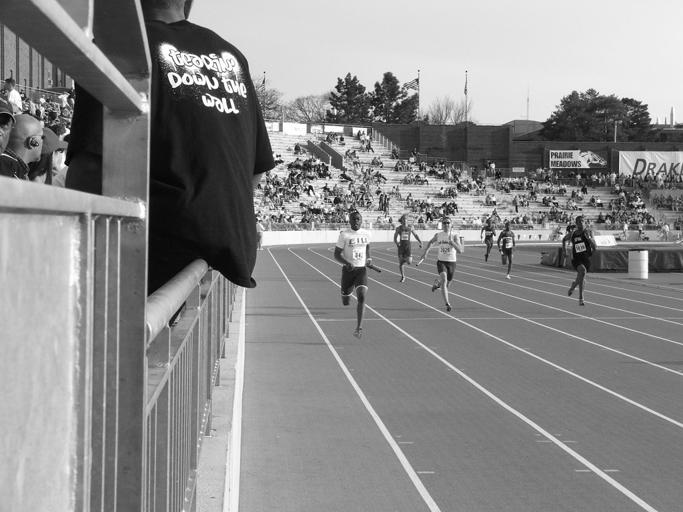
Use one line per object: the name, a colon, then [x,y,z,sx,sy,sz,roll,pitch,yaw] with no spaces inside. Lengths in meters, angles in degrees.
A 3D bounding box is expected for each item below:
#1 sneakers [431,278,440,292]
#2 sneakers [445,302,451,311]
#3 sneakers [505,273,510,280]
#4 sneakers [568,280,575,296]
sneakers: [2.219,0.659,18.583,0.149,0.228,0.533,19,-19,10]
sneakers: [2.227,1.039,16.558,0.092,0.192,0.266,0,-3,0]
sneakers: [5.486,0.622,25.754,0.103,0.219,0.283,-3,-3,-14]
sneakers: [6.073,0.807,20.613,0.102,0.353,0.122,20,-30,-4]
